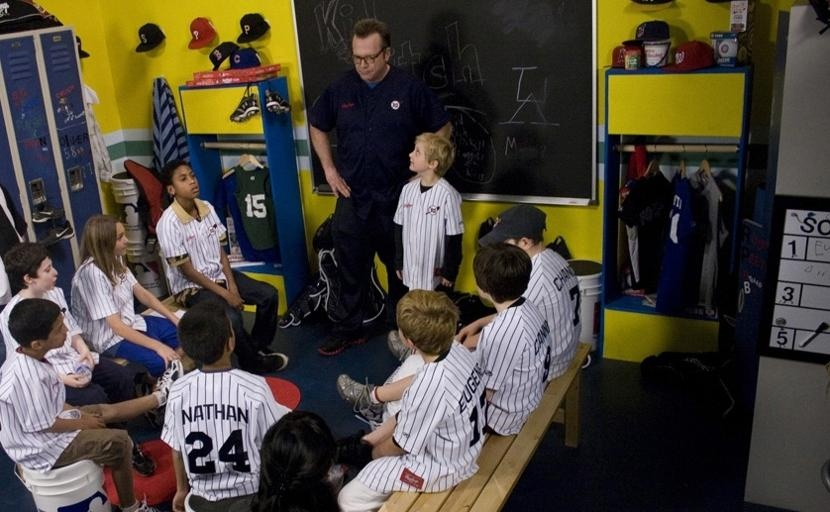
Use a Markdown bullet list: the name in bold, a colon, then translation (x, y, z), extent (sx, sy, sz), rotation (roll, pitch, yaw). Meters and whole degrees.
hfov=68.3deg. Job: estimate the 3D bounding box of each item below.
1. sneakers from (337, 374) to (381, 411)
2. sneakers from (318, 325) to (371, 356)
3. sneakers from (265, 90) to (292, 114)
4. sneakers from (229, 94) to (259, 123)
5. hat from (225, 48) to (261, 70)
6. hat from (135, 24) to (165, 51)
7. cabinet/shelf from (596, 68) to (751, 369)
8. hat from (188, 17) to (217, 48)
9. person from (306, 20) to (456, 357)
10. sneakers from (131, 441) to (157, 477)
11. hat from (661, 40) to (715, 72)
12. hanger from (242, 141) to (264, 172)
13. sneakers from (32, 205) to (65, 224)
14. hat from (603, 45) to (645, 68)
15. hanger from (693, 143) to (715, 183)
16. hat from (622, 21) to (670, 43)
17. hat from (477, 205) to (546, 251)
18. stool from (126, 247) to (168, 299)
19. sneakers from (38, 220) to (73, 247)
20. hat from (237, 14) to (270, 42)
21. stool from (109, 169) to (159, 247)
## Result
- **sneakers**: translation (-0.462, 1.114, 4.912), extent (0.199, 0.338, 0.157), rotation (-40, 11, 29)
- **sneakers**: translation (-0.670, 0.818, 5.893), extent (0.494, 0.233, 0.194), rotation (-19, 29, -37)
- **sneakers**: translation (-1.353, -1.498, 6.014), extent (0.105, 0.145, 0.304), rotation (2, 2, 24)
- **sneakers**: translation (-1.663, -1.439, 5.951), extent (0.294, 0.266, 0.096), rotation (3, 9, 23)
- **hat**: translation (-1.703, -1.981, 6.124), extent (0.333, 0.250, 0.250), rotation (7, 12, 42)
- **hat**: translation (-2.880, -2.360, 6.590), extent (0.351, 0.285, 0.143), rotation (3, 9, 23)
- **cabinet/shelf**: translation (2.268, -0.312, 5.323), extent (1.104, 2.560, 0.636), rotation (8, 20, 35)
- **hat**: translation (-2.248, -2.332, 6.373), extent (0.337, 0.314, 0.163), rotation (3, 9, 25)
- **person**: translation (-0.340, -0.624, 5.806), extent (1.252, 3.039, 0.979), rotation (-4, 20, -15)
- **sneakers**: translation (-2.106, 1.560, 4.675), extent (0.122, 0.145, 0.332), rotation (-15, 28, -42)
- **hat**: translation (2.179, -1.610, 4.888), extent (0.496, 0.208, 0.366), rotation (-21, 22, -23)
- **hanger**: translation (-1.708, -1.044, 6.417), extent (0.330, 0.210, 0.035), rotation (4, 6, 18)
- **sneakers**: translation (-3.565, -0.402, 5.957), extent (0.297, 0.157, 0.114), rotation (-5, 16, -5)
- **hat**: translation (1.707, -1.629, 5.059), extent (0.203, 0.216, 0.390), rotation (-5, 10, -23)
- **hanger**: translation (2.421, -0.771, 5.089), extent (0.043, 0.377, 0.198), rotation (-34, 36, -33)
- **hat**: translation (1.908, -1.768, 4.871), extent (0.230, 0.120, 0.177), rotation (-6, 15, -26)
- **hat**: translation (0.702, -0.232, 4.388), extent (0.503, 0.295, 0.322), rotation (-6, 7, 4)
- **stool**: translation (-3.093, 0.226, 6.858), extent (0.439, 0.584, 0.453), rotation (-6, 8, 45)
- **sneakers**: translation (-3.549, -0.213, 6.036), extent (0.112, 0.164, 0.354), rotation (11, 30, 26)
- **hat**: translation (-1.645, -2.305, 6.186), extent (0.339, 0.272, 0.147), rotation (2, 9, 18)
- **stool**: translation (-2.916, -0.485, 6.373), extent (0.461, 0.695, 0.452), rotation (-28, 41, -33)
